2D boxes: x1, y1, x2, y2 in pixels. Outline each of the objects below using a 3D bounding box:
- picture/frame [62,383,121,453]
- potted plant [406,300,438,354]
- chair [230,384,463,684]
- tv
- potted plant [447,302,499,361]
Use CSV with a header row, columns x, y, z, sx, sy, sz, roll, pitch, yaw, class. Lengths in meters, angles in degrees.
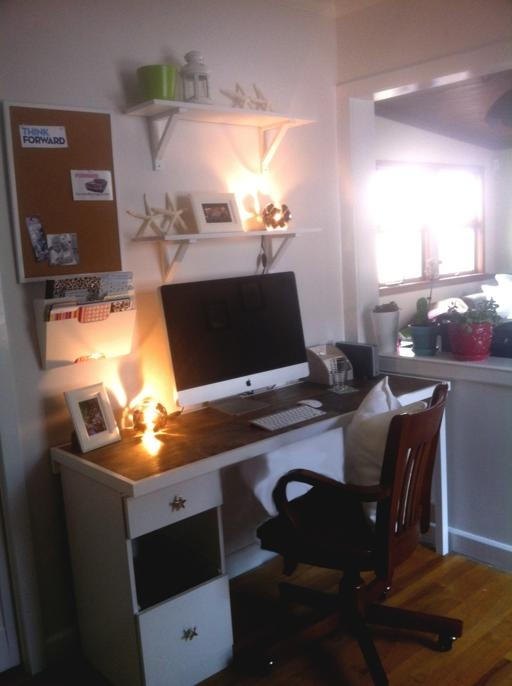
x,y,z,sx,sy,sz,roll,pitch,yaw,class
-0.525,0.242,1.750,0.021,0.201,0.156,-10,12,40,picture/frame
0.769,-0.081,2.583,0.123,0.257,0.200,-1,8,16,potted plant
0.268,0.548,2.065,0.852,0.985,0.765,5,11,28,chair
-0.104,0.006,2.081,0.519,0.373,0.072,-14,8,-40,tv
0.932,-0.041,2.393,0.237,0.315,0.231,0,-2,29,potted plant
